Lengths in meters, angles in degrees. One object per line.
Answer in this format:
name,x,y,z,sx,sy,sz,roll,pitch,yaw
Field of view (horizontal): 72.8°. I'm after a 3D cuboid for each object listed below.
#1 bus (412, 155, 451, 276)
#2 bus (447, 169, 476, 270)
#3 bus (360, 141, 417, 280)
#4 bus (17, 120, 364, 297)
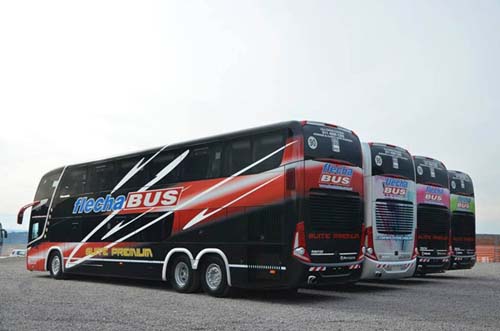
bus,8.267,2.191,15.557,2.419,5.109,0.790,10,-16,-32
bus,10.980,2.769,17.639,2.380,4.925,0.639,11,-16,-35
bus,5.299,1.676,13.013,2.724,5.035,0.691,10,-16,-32
bus,-3.948,2.138,15.279,15.371,5.206,4.153,-7,-6,30
